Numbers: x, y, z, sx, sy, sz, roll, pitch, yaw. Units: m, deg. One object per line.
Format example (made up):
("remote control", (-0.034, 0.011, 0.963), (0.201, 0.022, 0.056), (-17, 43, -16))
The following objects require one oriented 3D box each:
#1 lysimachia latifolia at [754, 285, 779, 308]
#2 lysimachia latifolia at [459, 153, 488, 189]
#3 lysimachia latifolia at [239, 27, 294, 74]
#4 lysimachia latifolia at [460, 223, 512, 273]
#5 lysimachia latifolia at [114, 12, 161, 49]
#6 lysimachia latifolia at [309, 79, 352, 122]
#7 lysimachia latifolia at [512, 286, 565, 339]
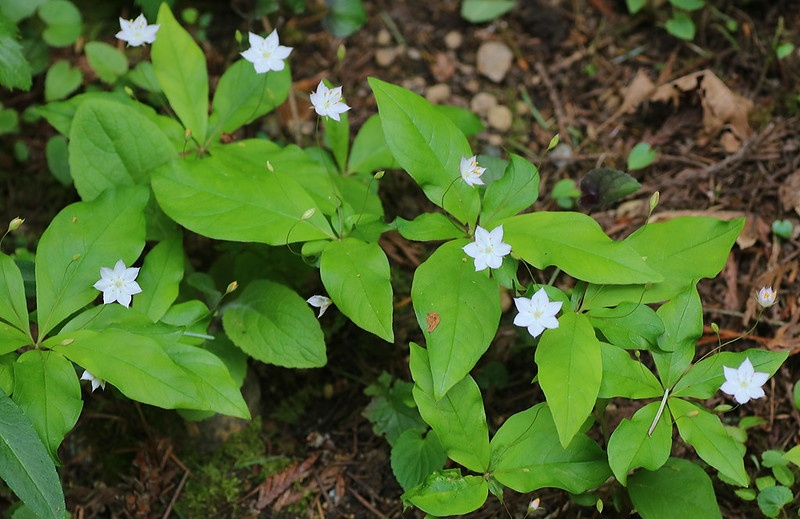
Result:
("lysimachia latifolia", (2.353, 0.242, 4.527), (0.086, 0.108, 0.101), (28, 35, 35))
("lysimachia latifolia", (0.427, -0.528, 4.243), (0.175, 0.085, 0.173), (-38, 101, -13))
("lysimachia latifolia", (-0.813, -1.216, 4.317), (0.251, 0.319, 0.230), (-19, 51, -27))
("lysimachia latifolia", (0.498, -0.073, 3.956), (0.211, 0.179, 0.218), (34, 49, 20))
("lysimachia latifolia", (-1.629, -1.424, 4.467), (0.229, 0.278, 0.256), (-1, 45, -12))
("lysimachia latifolia", (-0.416, -0.947, 4.356), (0.264, 0.313, 0.122), (-7, 4, -13))
("lysimachia latifolia", (0.799, 0.282, 3.984), (0.326, 0.164, 0.205), (-15, 51, -25))
